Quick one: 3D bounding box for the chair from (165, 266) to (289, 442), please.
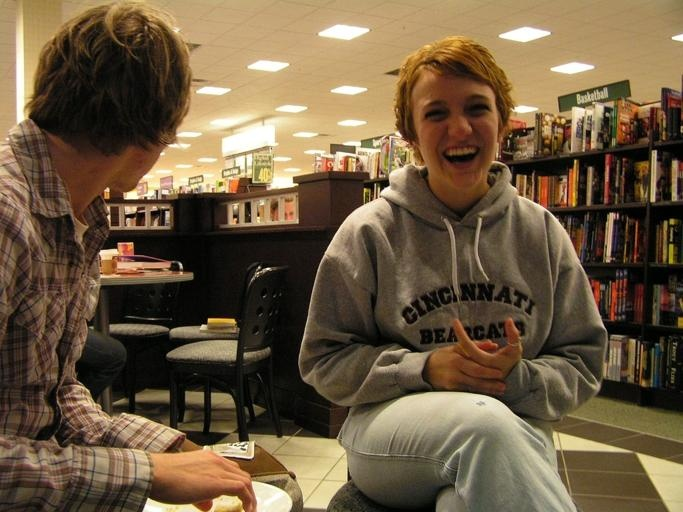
[{"bbox_3d":[-0.736,0.638,3.448,0.705,1.064,0.660,1,-1,26],"label":"chair"}]

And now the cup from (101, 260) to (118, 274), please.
[{"bbox_3d":[-1.440,0.082,3.322,0.082,0.097,0.139,-3,6,-27],"label":"cup"}]
